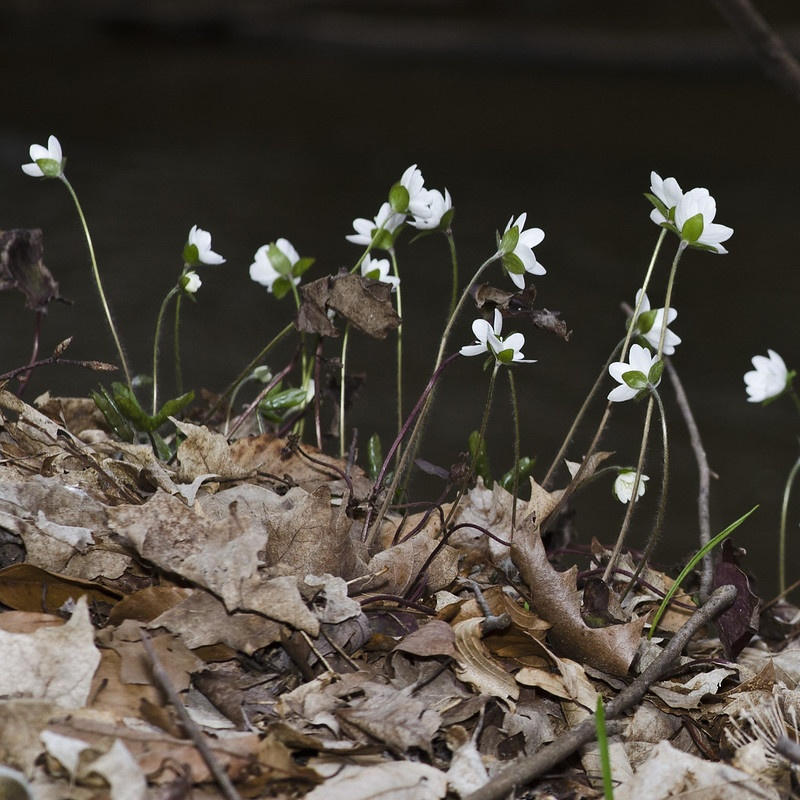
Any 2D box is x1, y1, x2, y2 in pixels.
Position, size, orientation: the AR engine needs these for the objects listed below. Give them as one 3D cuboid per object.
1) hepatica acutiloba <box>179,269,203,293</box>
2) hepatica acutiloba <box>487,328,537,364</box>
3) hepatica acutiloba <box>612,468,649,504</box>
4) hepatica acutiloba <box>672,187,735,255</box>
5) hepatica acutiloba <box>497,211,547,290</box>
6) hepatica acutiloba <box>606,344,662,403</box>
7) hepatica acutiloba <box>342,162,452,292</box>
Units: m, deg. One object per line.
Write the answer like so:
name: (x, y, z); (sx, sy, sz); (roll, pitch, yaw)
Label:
hepatica acutiloba: (-0.189, -0.105, 0.987); (0.018, 0.020, 0.009); (-1, -1, 3)
hepatica acutiloba: (0.086, -0.043, 0.891); (0.036, 0.027, 0.035); (9, 14, 3)
hepatica acutiloba: (0.185, 0.067, 0.934); (0.029, 0.028, 0.013); (23, 13, -35)
hepatica acutiloba: (0.233, -0.140, 0.875); (0.055, 0.052, 0.026); (18, 19, 32)
hepatica acutiloba: (0.091, -0.124, 0.939); (0.027, 0.060, 0.060); (-18, 17, 1)
hepatica acutiloba: (0.184, -0.020, 0.875); (0.045, 0.044, 0.016); (43, -15, -22)
hepatica acutiloba: (-0.002, -0.166, 0.982); (0.074, 0.083, 0.110); (6, 14, -11)
